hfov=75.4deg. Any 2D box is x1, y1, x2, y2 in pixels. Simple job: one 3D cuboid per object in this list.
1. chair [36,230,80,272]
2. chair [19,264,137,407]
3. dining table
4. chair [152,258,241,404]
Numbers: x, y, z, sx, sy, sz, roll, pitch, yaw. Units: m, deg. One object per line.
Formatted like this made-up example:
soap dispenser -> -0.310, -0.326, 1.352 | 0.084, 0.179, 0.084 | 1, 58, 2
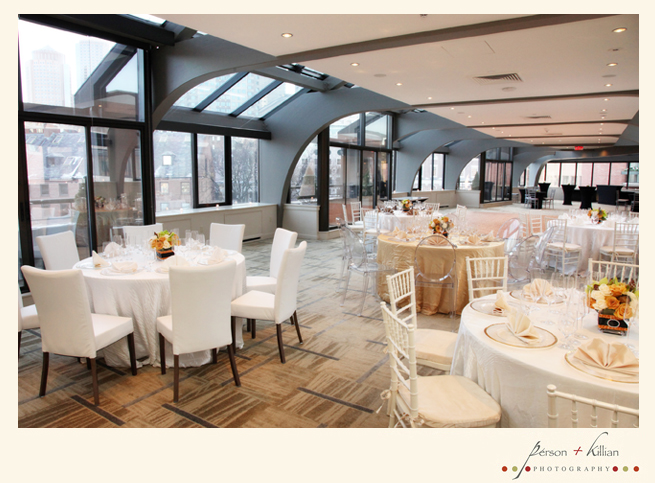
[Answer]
chair -> -3.124, 0.113, 4.897 | 0.361, 0.589, 0.339 | 18, 22, 20
chair -> -2.168, 0.728, 3.708 | 0.728, 1.146, 0.588 | 4, 15, 12
dining table -> -1.852, 0.454, 4.419 | 1.321, 0.675, 1.254 | 1, 12, -1
chair -> -1.162, 0.709, 3.798 | 0.677, 1.155, 0.673 | -5, 15, -23
